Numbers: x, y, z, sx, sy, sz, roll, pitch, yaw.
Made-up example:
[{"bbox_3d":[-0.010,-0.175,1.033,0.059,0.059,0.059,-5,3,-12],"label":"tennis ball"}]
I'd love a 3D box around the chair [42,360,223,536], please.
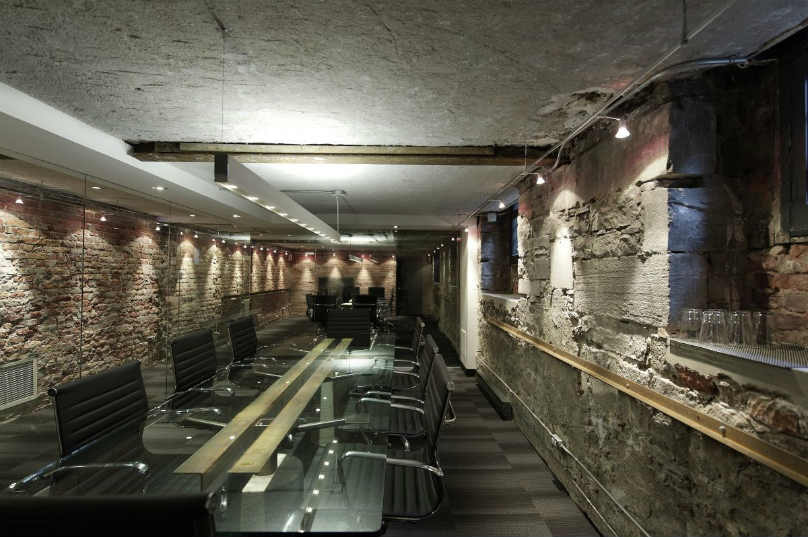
[{"bbox_3d":[-1.492,0.972,2.660,0.740,0.787,0.920,0,-1,-6],"label":"chair"}]

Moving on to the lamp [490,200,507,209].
[{"bbox_3d":[1.196,-0.782,6.004,0.182,0.149,0.170,0,-11,-5],"label":"lamp"}]

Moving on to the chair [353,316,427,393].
[{"bbox_3d":[-0.060,0.890,4.356,0.702,0.787,0.926,1,-1,1],"label":"chair"}]

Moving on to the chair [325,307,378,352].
[{"bbox_3d":[-0.568,0.668,5.234,0.557,0.422,0.352,0,-12,-1],"label":"chair"}]

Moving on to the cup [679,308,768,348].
[{"bbox_3d":[1.699,0.313,2.523,0.127,0.171,0.346,1,-3,-37],"label":"cup"}]

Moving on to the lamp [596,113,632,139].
[{"bbox_3d":[1.402,-0.955,3.147,0.274,0.138,0.174,1,4,-37],"label":"lamp"}]
